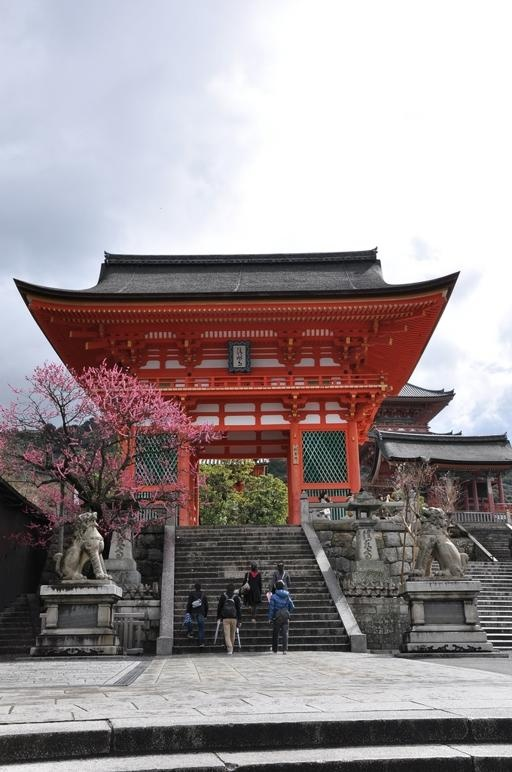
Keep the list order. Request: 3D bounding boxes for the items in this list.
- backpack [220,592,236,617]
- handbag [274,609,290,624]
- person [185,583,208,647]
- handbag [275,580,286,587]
[{"bbox_3d":[-0.492,4.061,11.675,0.384,0.520,0.290,2,-37,-6],"label":"backpack"},{"bbox_3d":[0.487,4.097,11.214,0.255,0.249,0.309,0,-19,-1],"label":"handbag"},{"bbox_3d":[-1.181,4.557,12.615,0.426,1.153,0.976,2,-19,-6],"label":"person"},{"bbox_3d":[0.474,3.534,11.276,0.213,0.181,0.164,-2,-18,-2],"label":"handbag"}]
